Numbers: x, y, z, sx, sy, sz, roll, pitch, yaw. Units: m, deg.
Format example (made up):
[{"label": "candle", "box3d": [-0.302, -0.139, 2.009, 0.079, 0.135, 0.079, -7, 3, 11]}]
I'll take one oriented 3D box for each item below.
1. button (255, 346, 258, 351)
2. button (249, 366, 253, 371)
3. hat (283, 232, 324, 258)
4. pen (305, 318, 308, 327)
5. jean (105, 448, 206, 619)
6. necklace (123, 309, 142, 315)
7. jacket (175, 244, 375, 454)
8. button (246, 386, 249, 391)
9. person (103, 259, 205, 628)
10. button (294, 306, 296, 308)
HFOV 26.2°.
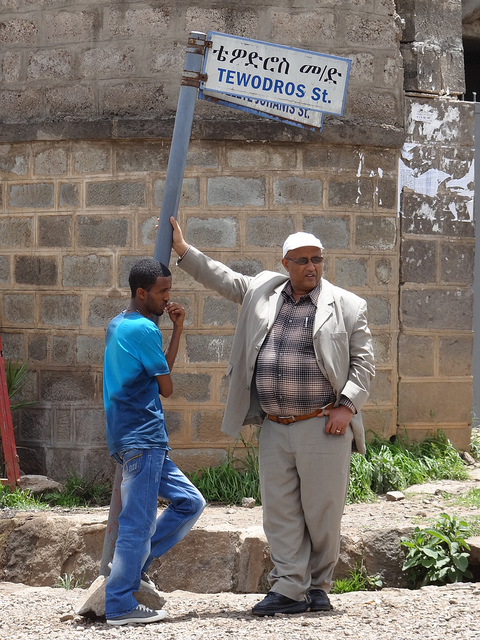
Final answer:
[{"label": "button", "box3d": [0.093, 0.162, 5.833, 0.025, 0.024, 0.009, 1, 7, 31]}, {"label": "button", "box3d": [0.062, 0.274, 5.841, 0.021, 0.025, 0.007, 0, -2, 23]}, {"label": "hat", "box3d": [0.347, -0.436, 5.868, 0.198, 0.147, 0.243, 1, -2, -4]}, {"label": "pen", "box3d": [0.367, 0.013, 5.768, 0.013, 0.050, 0.022, 1, -2, 5]}, {"label": "jean", "box3d": [-0.500, 1.124, 5.617, 0.330, 0.889, 0.607, -1, -2, 41]}, {"label": "necklace", "box3d": [-0.579, -0.046, 5.635, 0.113, 0.028, 0.036, 0, -2, 24]}, {"label": "jacket", "box3d": [0.136, 0.223, 6.600, 1.564, 1.312, 0.553, 5, -8, 13]}, {"label": "button", "box3d": [0.043, 0.388, 5.876, 0.018, 0.026, 0.007, -14, 1, 11]}, {"label": "person", "box3d": [-0.515, 0.651, 5.634, 0.396, 1.959, 0.591, -1, -2, 38]}, {"label": "button", "box3d": [0.309, -0.076, 5.865, 0.013, 0.010, 0.013, -3, -7, 32]}]
